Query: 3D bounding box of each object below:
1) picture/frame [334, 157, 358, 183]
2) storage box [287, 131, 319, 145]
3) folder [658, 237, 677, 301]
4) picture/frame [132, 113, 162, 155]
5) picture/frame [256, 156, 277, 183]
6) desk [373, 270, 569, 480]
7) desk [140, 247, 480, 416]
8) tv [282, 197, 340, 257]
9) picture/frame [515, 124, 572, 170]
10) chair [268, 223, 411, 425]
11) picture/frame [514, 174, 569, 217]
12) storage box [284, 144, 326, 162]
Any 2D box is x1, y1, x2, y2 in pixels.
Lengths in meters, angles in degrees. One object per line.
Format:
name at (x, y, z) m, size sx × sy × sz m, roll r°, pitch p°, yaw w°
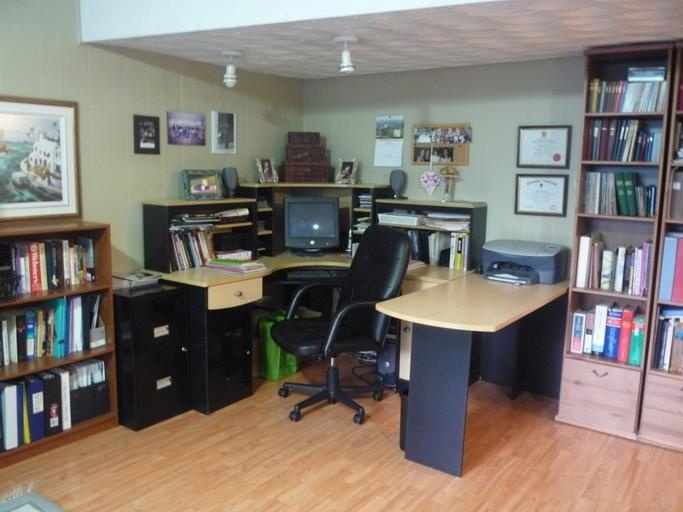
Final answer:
picture/frame at (0.058, -0.794, 5.043) m, size 0.231 × 0.241 × 0.035 m, roll 9°, pitch -6°, yaw 15°
storage box at (-0.347, -1.100, 5.072) m, size 0.278 × 0.127 × 0.210 m, roll -4°, pitch 13°, yaw -12°
folder at (2.105, 0.080, 3.515) m, size 0.117 × 0.369 × 0.350 m, roll 3°, pitch 12°, yaw 25°
picture/frame at (-1.466, -0.929, 4.104) m, size 0.028 × 0.397 × 0.297 m, roll 12°, pitch 14°, yaw 36°
picture/frame at (-0.675, -0.772, 4.883) m, size 0.026 × 0.245 × 0.234 m, roll -12°, pitch 0°, yaw 37°
desk at (0.805, 0.752, 3.575) m, size 0.730 × 1.006 × 1.060 m, roll 9°, pitch 16°, yaw 41°
desk at (-0.417, 0.241, 4.222) m, size 1.299 × 0.767 × 1.331 m, roll 12°, pitch 19°, yaw 35°
tv at (-0.273, -0.230, 4.980) m, size 0.700 × 0.705 × 0.405 m, roll 0°, pitch -4°, yaw -8°
picture/frame at (1.562, -0.843, 4.170) m, size 0.338 × 0.296 × 0.024 m, roll 9°, pitch 12°, yaw 29°
chair at (-0.034, 0.467, 3.981) m, size 0.908 × 1.338 × 0.836 m, roll -2°, pitch 9°, yaw -20°
picture/frame at (1.561, -0.473, 4.206) m, size 0.319 × 0.284 × 0.026 m, roll 4°, pitch 6°, yaw 28°
storage box at (-0.319, -0.949, 5.018) m, size 0.337 × 0.158 × 0.087 m, roll -4°, pitch 13°, yaw -13°
